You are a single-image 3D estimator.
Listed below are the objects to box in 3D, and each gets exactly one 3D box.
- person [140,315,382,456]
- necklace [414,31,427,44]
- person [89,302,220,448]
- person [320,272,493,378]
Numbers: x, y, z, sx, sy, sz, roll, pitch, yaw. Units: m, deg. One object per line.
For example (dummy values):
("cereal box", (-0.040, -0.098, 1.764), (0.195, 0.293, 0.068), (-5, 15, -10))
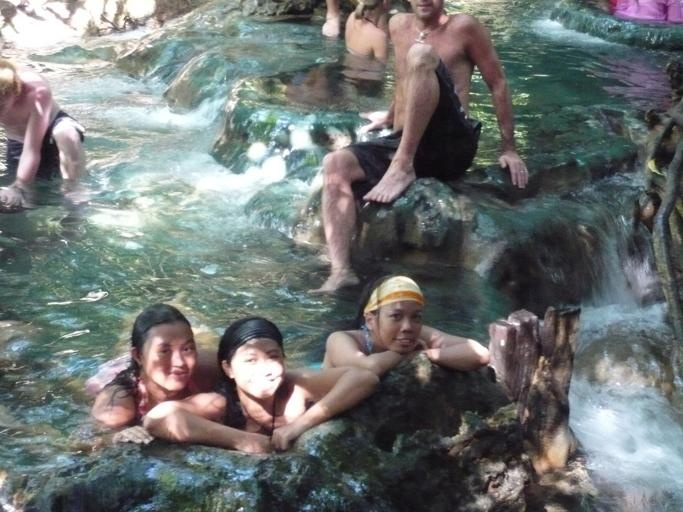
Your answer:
("person", (-0.397, 0.695, 3.483), (1.191, 0.611, 0.529), (1, 16, 2))
("necklace", (0.711, -1.945, 5.858), (0.047, 0.110, 0.070), (-5, 23, -43))
("person", (-1.040, 0.632, 3.709), (0.694, 0.485, 0.825), (-5, 7, -30))
("person", (0.338, 0.475, 4.060), (0.799, 0.634, 1.373), (7, -15, -21))
